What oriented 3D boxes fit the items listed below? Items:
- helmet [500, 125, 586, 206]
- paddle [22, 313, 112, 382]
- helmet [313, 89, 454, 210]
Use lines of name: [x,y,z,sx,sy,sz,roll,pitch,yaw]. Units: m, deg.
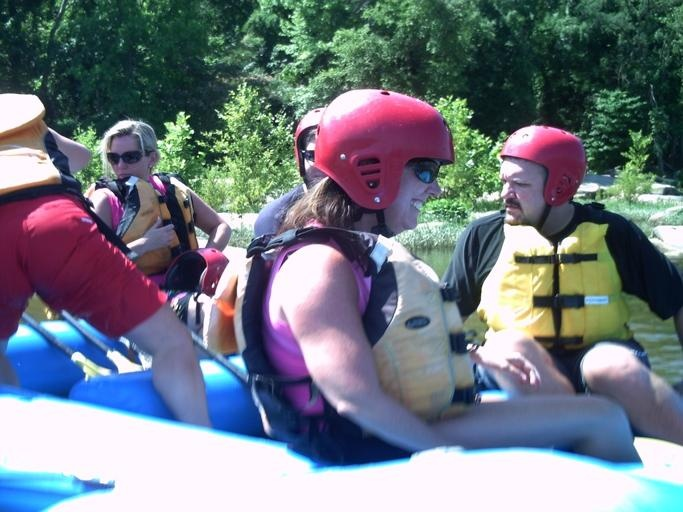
helmet: [0.989,-0.457,3.582,0.374,0.397,0.405,7,14,26]
paddle: [-1.154,0.399,3.071,0.067,0.274,0.166,-45,14,-23]
helmet: [0.143,-0.344,2.457,0.435,0.420,0.376,0,4,6]
